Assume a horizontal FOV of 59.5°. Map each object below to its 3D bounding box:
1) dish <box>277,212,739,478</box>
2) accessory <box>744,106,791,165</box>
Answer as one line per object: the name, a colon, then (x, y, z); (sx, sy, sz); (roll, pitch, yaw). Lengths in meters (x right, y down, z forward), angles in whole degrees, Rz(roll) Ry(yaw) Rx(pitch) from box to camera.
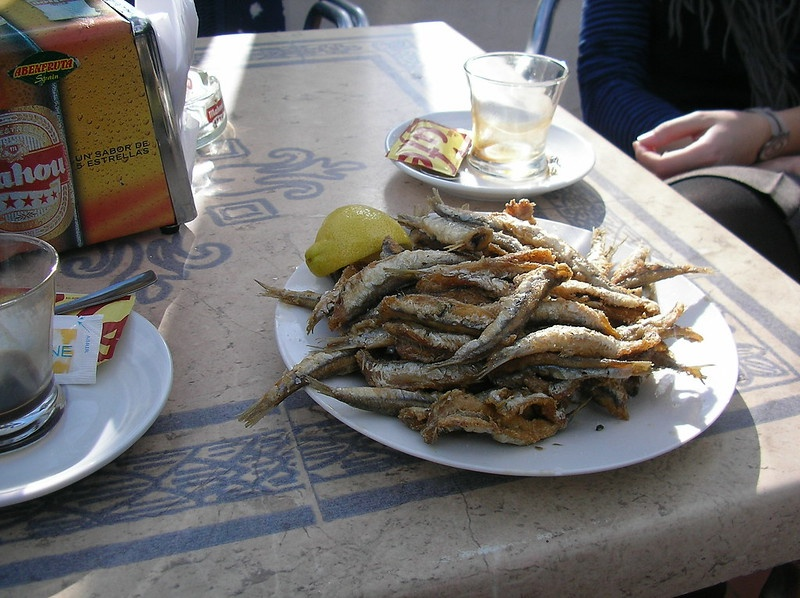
dish: (0.188, 0.082, 1.198); (0.781, 0.122, 0.518); (-3, 41, -10)
accessory: (1.235, -0.556, 2.379); (0.075, 0.168, 0.140); (25, 1, -25)
